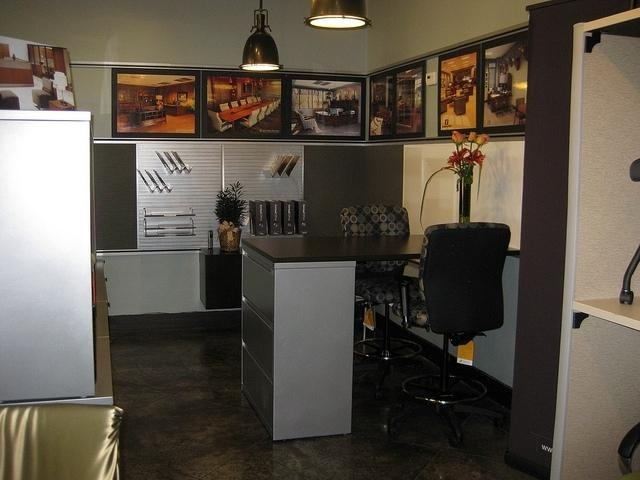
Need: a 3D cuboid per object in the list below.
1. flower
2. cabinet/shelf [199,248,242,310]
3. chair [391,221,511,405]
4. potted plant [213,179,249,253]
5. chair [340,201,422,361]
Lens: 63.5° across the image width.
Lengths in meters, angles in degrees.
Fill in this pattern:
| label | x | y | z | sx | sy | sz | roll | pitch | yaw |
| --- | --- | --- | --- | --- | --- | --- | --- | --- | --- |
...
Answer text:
| label | x | y | z | sx | sy | sz | roll | pitch | yaw |
| --- | --- | --- | --- | --- | --- | --- | --- | --- | --- |
| flower | 1.052 | -0.561 | 4.351 | 0.658 | 0.982 | 0.516 | -4 | 10 | -19 |
| cabinet/shelf | -0.987 | 0.494 | 5.926 | 0.456 | 0.605 | 0.643 | -2 | -7 | 7 |
| chair | 0.895 | 0.481 | 3.498 | 0.650 | 1.174 | 0.772 | 0 | 1 | -4 |
| potted plant | -0.996 | -0.270 | 5.823 | 0.373 | 0.758 | 0.387 | -2 | 9 | -12 |
| chair | 0.538 | 0.391 | 4.285 | 0.806 | 1.274 | 0.735 | 3 | 13 | 20 |
